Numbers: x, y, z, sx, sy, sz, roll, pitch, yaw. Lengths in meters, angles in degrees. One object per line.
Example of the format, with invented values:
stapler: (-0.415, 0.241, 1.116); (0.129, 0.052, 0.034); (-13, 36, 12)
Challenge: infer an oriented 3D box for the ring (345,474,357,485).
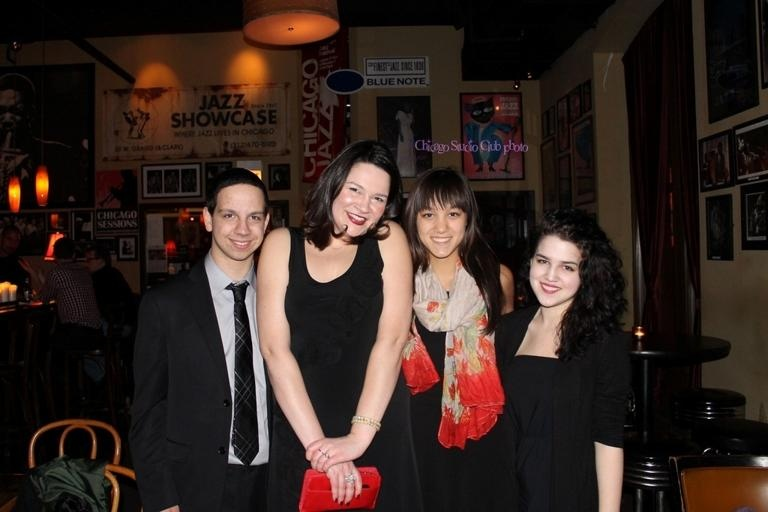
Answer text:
ring: (-0.196, 1.343, 3.724); (0.043, 0.022, 0.059); (6, 2, 27)

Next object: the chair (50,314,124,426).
chair: (-3.543, 1.333, 7.360); (0.780, 1.135, 1.680); (3, -3, -29)

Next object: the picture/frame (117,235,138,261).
picture/frame: (-4.098, -0.132, 9.874); (0.356, 0.521, 0.048); (2, -2, -4)

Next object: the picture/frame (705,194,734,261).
picture/frame: (3.405, -0.277, 6.276); (0.103, 0.653, 0.368); (2, -2, -7)

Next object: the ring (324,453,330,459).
ring: (-0.355, 1.196, 3.717); (0.031, 0.032, 0.010); (1, 1, 6)
